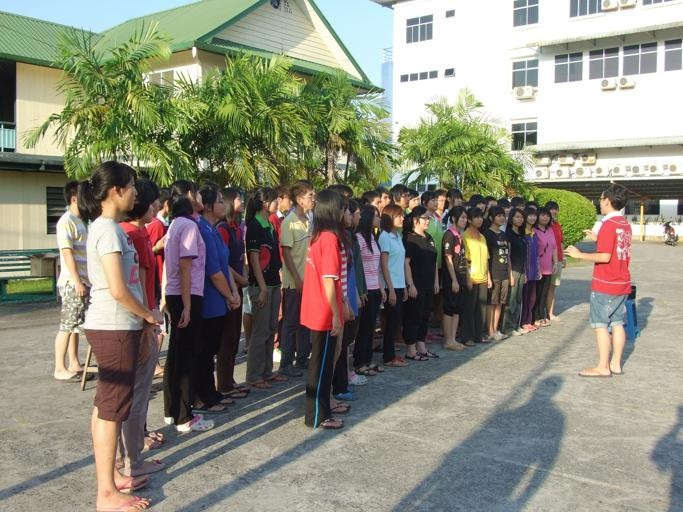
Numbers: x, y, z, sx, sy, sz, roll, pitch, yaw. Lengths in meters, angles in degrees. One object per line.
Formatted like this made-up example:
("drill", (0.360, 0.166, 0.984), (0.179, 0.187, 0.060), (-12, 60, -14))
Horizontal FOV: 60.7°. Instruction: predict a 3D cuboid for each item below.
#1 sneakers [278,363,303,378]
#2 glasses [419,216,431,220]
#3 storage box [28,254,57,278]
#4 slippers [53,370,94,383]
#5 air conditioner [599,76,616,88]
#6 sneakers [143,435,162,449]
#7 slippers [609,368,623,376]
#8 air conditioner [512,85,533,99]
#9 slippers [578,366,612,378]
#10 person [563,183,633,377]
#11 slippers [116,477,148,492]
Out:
("sneakers", (-0.653, 1.476, 7.539), (0.318, 0.140, 0.135), (1, 3, 9))
("glasses", (1.188, -0.550, 8.342), (0.109, 0.039, 0.114), (-1, 0, -28))
("storage box", (-7.112, 0.232, 13.970), (0.588, 0.439, 0.561), (0, -2, -28))
("slippers", (-3.298, 1.488, 7.178), (0.442, 0.128, 0.212), (-2, -5, -4))
("air conditioner", (13.920, -8.956, 30.347), (0.805, 0.624, 0.509), (-1, 5, 11))
("sneakers", (-1.758, 1.739, 5.440), (0.058, 0.092, 0.156), (-15, -12, 24))
("slippers", (3.559, 1.497, 7.567), (0.072, 0.059, 0.152), (-4, 2, -41))
("air conditioner", (10.062, -8.947, 32.038), (0.714, 0.482, 0.755), (-1, 2, 21))
("slippers", (3.241, 1.503, 7.466), (0.285, 0.075, 0.167), (1, 0, 18))
("person", (3.555, 0.279, 7.887), (0.617, 2.502, 1.443), (1, 6, 26))
("slippers", (-1.706, 1.854, 4.730), (0.265, 0.121, 0.088), (-1, 1, -12))
